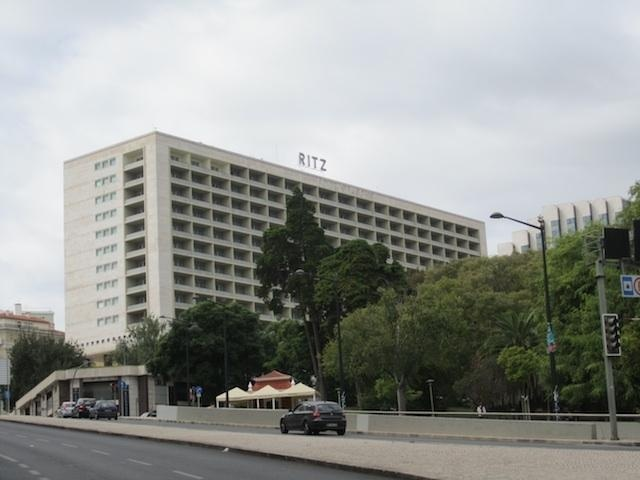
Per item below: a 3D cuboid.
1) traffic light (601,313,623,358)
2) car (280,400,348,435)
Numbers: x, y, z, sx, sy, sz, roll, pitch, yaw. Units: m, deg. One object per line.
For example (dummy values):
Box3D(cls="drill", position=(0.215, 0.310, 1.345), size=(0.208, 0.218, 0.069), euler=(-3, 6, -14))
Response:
Box3D(cls="traffic light", position=(17.073, 5.685, 61.875), size=(0.896, 2.420, 0.986), euler=(-7, -16, 23))
Box3D(cls="car", position=(-0.594, 11.736, 68.950), size=(2.327, 2.153, 5.507), euler=(5, -11, -29))
